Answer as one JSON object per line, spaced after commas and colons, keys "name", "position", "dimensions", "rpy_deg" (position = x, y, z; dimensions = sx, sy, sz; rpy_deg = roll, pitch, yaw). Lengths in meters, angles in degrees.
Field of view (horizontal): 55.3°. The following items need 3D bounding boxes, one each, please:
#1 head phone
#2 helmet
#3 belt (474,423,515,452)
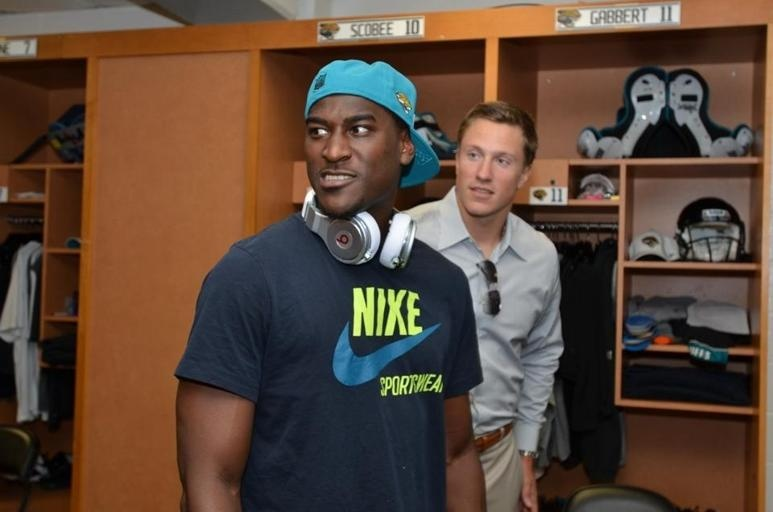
{"name": "head phone", "position": [-0.114, -0.089, 2.725], "dimensions": [0.258, 0.126, 0.289], "rpy_deg": [11, 33, -41]}
{"name": "helmet", "position": [2.059, -0.168, 4.685], "dimensions": [0.342, 0.348, 0.424], "rpy_deg": [0, -3, 8]}
{"name": "belt", "position": [0.530, 0.901, 3.715], "dimensions": [0.206, 0.082, 0.154], "rpy_deg": [-26, 1, -34]}
